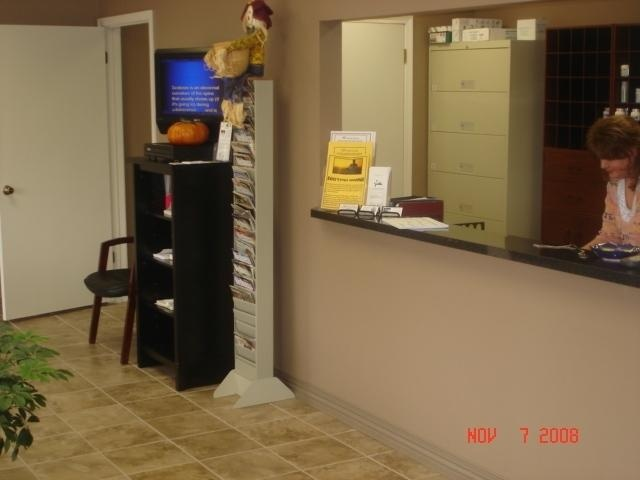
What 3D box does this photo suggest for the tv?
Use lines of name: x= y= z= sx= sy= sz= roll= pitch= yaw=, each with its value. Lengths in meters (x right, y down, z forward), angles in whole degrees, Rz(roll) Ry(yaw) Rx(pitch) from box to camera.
tv: x=-0.906 y=-1.039 z=3.564 sx=0.723 sy=0.681 sz=0.372 roll=7 pitch=11 yaw=37

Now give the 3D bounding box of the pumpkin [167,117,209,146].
pumpkin: x=-0.911 y=-0.762 z=3.481 sx=0.205 sy=0.140 sz=0.205 roll=-10 pitch=19 yaw=-36

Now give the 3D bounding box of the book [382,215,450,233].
book: x=0.465 y=-0.074 z=2.441 sx=0.298 sy=0.045 sz=0.256 roll=-1 pitch=9 yaw=-9

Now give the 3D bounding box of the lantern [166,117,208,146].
lantern: x=-0.907 y=-0.761 z=3.484 sx=0.204 sy=0.140 sz=0.205 roll=-11 pitch=18 yaw=-40

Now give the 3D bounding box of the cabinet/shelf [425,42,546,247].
cabinet/shelf: x=1.688 y=-1.017 z=5.200 sx=1.185 sy=2.008 sz=0.589 roll=4 pitch=9 yaw=24

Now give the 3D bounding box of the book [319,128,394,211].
book: x=0.185 y=-0.363 z=2.697 sx=0.403 sy=0.435 sz=0.213 roll=2 pitch=8 yaw=16

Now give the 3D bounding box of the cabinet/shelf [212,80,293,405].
cabinet/shelf: x=-0.441 y=0.052 z=3.210 sx=0.442 sy=2.072 sz=0.330 roll=4 pitch=9 yaw=28
